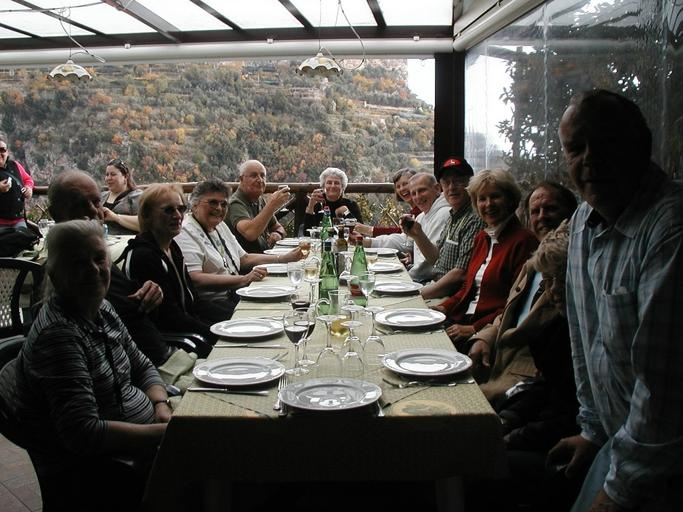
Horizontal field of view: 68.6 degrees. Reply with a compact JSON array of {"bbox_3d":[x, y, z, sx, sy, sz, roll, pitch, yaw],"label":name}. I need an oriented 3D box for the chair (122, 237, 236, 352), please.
[{"bbox_3d":[-0.881,0.216,2.678,0.394,0.534,0.317,-9,44,-7],"label":"chair"}]
